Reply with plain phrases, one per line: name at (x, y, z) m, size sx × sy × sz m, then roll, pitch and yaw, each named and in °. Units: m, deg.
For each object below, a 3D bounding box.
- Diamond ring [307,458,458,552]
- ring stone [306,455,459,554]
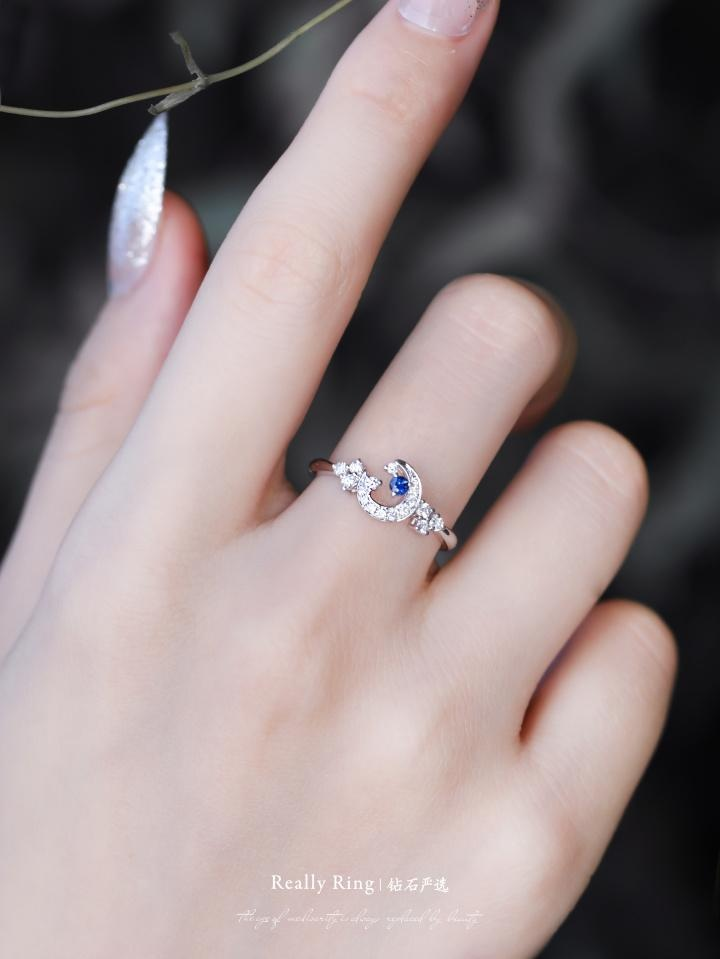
Diamond ring at (0.027, 0.015, 0.988) m, size 0.140 × 0.162 × 0.059 m, roll 36°, pitch 94°, yaw 1°
ring stone at (0.029, 0.016, 0.986) m, size 0.136 × 0.157 × 0.060 m, roll 35°, pitch 94°, yaw 1°
